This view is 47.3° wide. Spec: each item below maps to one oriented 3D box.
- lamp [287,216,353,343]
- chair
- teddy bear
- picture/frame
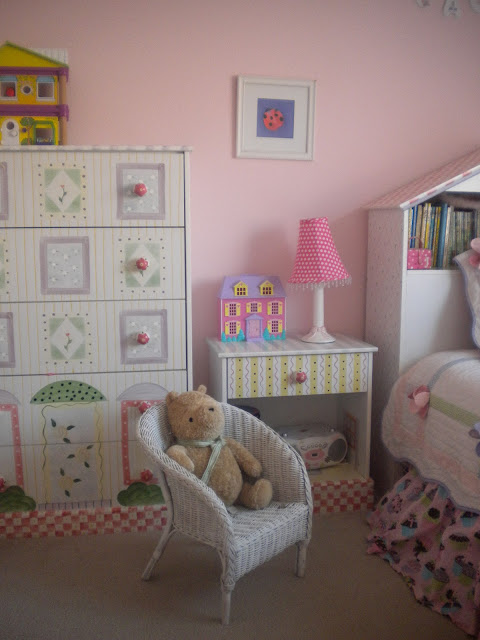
[{"bbox_3d":[0.362,-0.178,2.416,0.239,0.521,0.346,3,8,17],"label":"lamp"},{"bbox_3d":[-0.115,0.495,1.850,0.609,0.606,0.604,0,2,42],"label":"chair"},{"bbox_3d":[-0.076,0.437,1.778,0.345,0.381,0.331,-4,4,10],"label":"teddy bear"},{"bbox_3d":[0.137,-0.895,2.397,0.398,0.363,0.035,1,6,-9],"label":"picture/frame"}]
